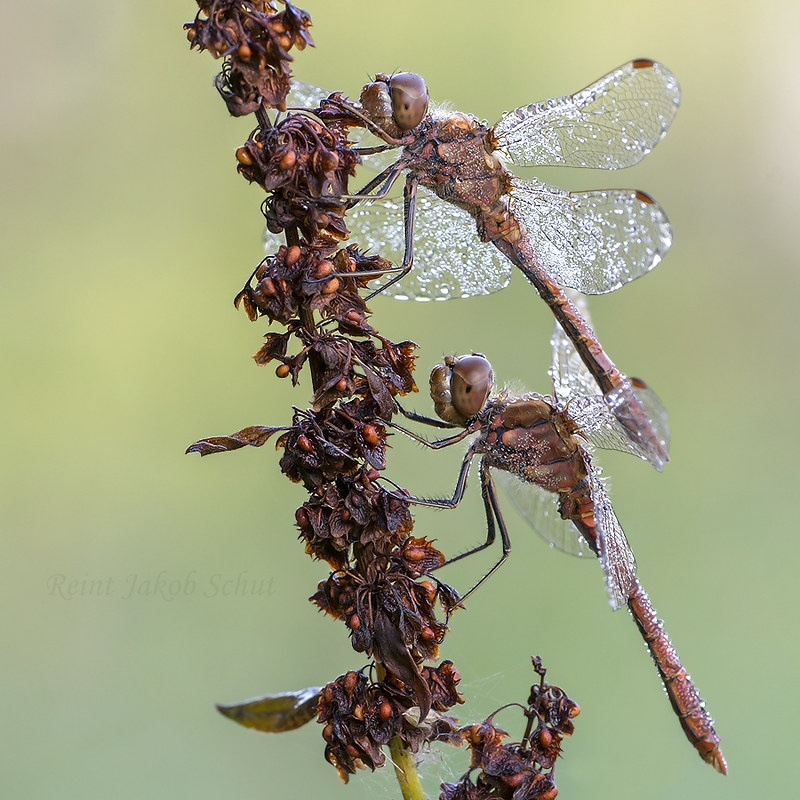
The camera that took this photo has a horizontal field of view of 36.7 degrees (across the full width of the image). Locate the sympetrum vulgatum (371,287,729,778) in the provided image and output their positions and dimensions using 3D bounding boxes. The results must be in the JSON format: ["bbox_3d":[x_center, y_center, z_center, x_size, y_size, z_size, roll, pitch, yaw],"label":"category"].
[{"bbox_3d":[0.300,0.235,2.435,0.781,0.942,0.365,25,-45,-37],"label":"sympetrum vulgatum"}]
